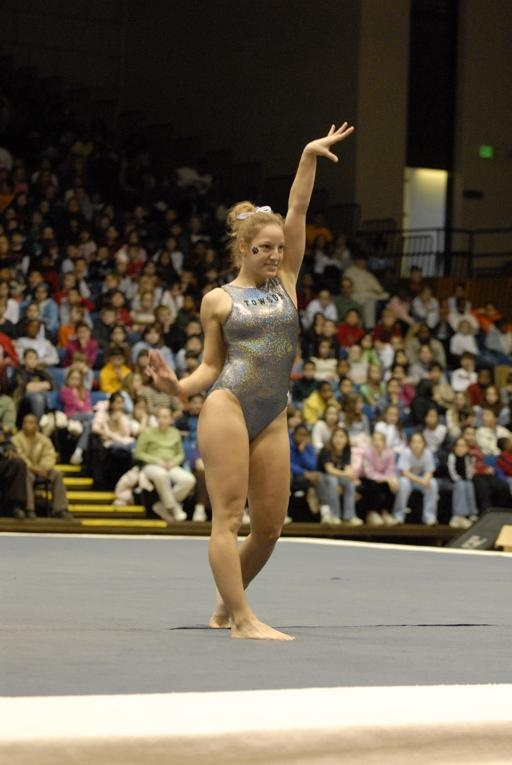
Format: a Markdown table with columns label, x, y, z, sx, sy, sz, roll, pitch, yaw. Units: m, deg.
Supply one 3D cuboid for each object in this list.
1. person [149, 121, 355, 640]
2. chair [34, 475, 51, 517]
| label | x | y | z | sx | sy | sz | roll | pitch | yaw |
| --- | --- | --- | --- | --- | --- | --- | --- | --- | --- |
| person | -0.041 | -0.031 | 2.670 | 0.519 | 1.601 | 0.749 | 5 | 5 | 4 |
| chair | -1.825 | 0.972 | 7.571 | 0.150 | 0.341 | 0.213 | 3 | 5 | -12 |
